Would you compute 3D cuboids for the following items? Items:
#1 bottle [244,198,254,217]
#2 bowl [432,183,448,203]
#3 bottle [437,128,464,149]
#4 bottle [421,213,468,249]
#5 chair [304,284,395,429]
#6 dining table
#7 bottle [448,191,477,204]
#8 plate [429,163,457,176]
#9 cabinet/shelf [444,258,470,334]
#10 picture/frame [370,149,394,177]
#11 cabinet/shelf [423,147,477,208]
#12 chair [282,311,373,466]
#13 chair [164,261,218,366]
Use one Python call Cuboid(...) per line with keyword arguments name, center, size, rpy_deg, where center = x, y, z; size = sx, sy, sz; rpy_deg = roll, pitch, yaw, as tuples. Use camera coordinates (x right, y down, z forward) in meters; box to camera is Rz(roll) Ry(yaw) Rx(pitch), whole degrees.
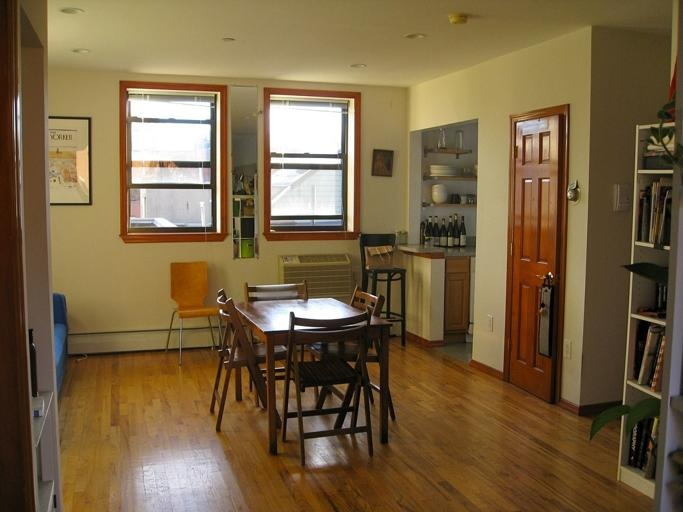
Cuboid(name="bottle", center=(-1.183, -0.617, 6.799), size=(0.178, 0.199, 0.069), rpy_deg=(1, 5, -27))
Cuboid(name="bowl", center=(1.356, -0.848, 7.329), size=(0.269, 0.260, 0.216), rpy_deg=(-1, 7, -10))
Cuboid(name="bottle", center=(1.456, -1.580, 7.257), size=(0.301, 0.283, 0.112), rpy_deg=(0, 1, -22))
Cuboid(name="bottle", center=(1.385, -0.341, 7.407), size=(0.448, 0.485, 0.108), rpy_deg=(0, -3, -15))
Cuboid(name="chair", center=(0.195, 0.726, 4.952), size=(0.833, 1.426, 0.717), rpy_deg=(-2, 3, -17))
Cuboid(name="dining table", center=(-0.241, 0.654, 4.492), size=(0.938, 1.082, 1.417), rpy_deg=(-1, 4, -12))
Cuboid(name="bottle", center=(1.674, -0.796, 7.451), size=(0.299, 0.129, 0.197), rpy_deg=(0, 1, -8))
Cuboid(name="plate", center=(1.354, -1.164, 7.270), size=(0.200, 0.092, 0.231), rpy_deg=(0, 1, -20))
Cuboid(name="cabinet/shelf", center=(1.488, 0.490, 6.882), size=(0.381, 0.962, 0.108), rpy_deg=(-3, 7, -23))
Cuboid(name="picture/frame", center=(0.522, -1.258, 7.203), size=(0.341, 0.449, 0.034), rpy_deg=(0, 5, -23))
Cuboid(name="cabinet/shelf", center=(1.445, -1.074, 7.353), size=(0.759, 0.804, 0.262), rpy_deg=(-2, 6, -23))
Cuboid(name="chair", center=(-0.098, 0.881, 4.383), size=(0.755, 1.117, 1.263), rpy_deg=(0, 7, -2))
Cuboid(name="chair", center=(-1.813, 0.642, 6.425), size=(0.618, 1.101, 0.613), rpy_deg=(-3, 7, -20))
